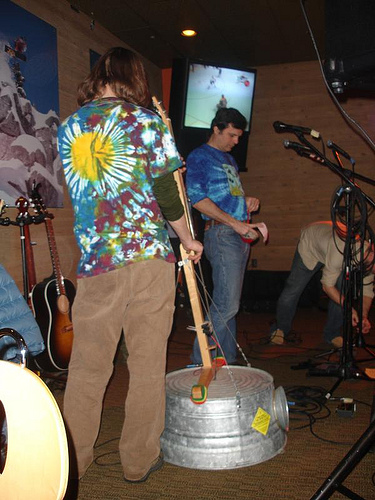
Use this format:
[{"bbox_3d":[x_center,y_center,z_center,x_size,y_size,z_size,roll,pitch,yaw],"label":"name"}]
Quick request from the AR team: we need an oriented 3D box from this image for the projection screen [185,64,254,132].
[{"bbox_3d":[0.343,-1.638,4.806,0.047,0.694,1.126,20,23,40],"label":"projection screen"}]

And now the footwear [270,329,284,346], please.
[{"bbox_3d":[0.727,0.706,3.585,0.136,0.113,0.105,14,-17,-40],"label":"footwear"}]

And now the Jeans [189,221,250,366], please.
[{"bbox_3d":[0.222,0.237,2.503,0.258,0.739,0.303,-1,-4,24],"label":"Jeans"}]

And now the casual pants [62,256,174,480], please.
[{"bbox_3d":[-0.224,0.372,1.478,0.353,0.674,0.200,3,-4,-5],"label":"casual pants"}]

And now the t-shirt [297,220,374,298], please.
[{"bbox_3d":[0.913,0.004,3.023,0.189,0.399,0.532,-6,38,-18],"label":"t-shirt"}]
